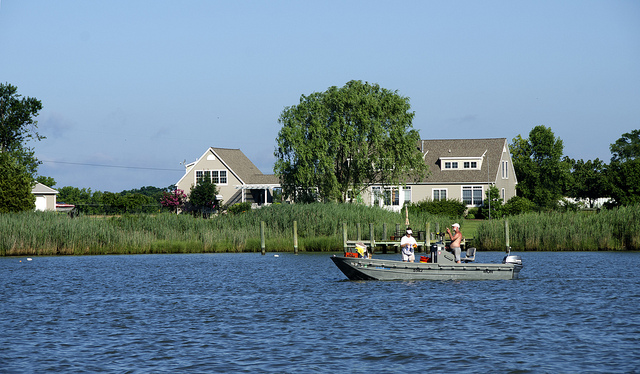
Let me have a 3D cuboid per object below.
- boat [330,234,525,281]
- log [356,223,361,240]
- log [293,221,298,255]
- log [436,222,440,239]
[{"bbox_3d":[6.932,4.954,57.325,12.600,3.031,2.877,0,2,2],"label":"boat"},{"bbox_3d":[3.114,3.694,71.340,0.258,1.320,0.872,0,9,2],"label":"log"},{"bbox_3d":[-2.096,4.033,70.740,0.341,2.611,1.651,-1,9,-3],"label":"log"},{"bbox_3d":[9.898,3.716,73.613,0.196,1.716,2.743,1,9,11],"label":"log"}]
